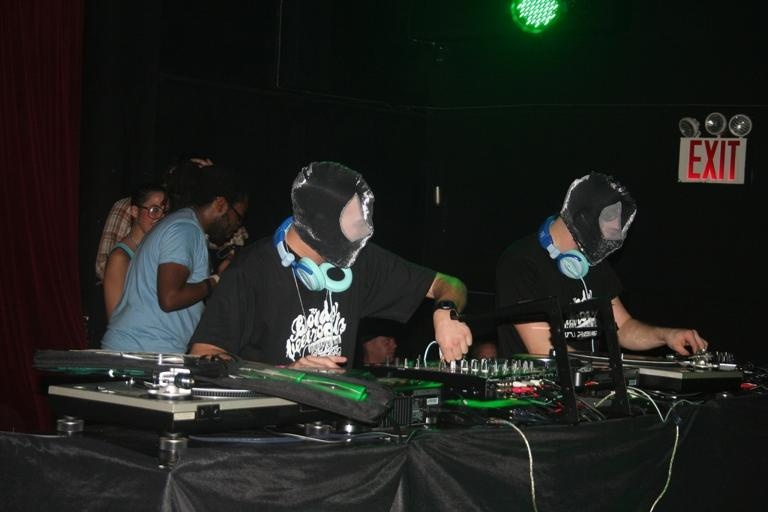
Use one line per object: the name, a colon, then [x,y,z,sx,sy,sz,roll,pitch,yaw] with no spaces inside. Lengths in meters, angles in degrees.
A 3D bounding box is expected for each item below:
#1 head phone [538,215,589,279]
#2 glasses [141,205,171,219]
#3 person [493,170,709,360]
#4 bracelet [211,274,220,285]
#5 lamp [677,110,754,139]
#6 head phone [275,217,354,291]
head phone: [0.996,-0.031,3.764,0.113,0.308,0.263,-41,-7,-25]
glasses: [-1.430,-0.275,4.225,0.133,0.044,0.135,3,-6,-41]
person: [1.117,0.108,4.107,1.295,1.084,0.955,-4,-6,38]
bracelet: [-0.898,0.130,3.611,0.051,0.037,0.050,2,-3,-42]
lamp: [2.407,-0.956,4.917,0.491,0.199,0.112,1,-8,21]
head phone: [-0.298,-0.007,3.071,0.366,0.388,0.155,-4,-16,-46]
